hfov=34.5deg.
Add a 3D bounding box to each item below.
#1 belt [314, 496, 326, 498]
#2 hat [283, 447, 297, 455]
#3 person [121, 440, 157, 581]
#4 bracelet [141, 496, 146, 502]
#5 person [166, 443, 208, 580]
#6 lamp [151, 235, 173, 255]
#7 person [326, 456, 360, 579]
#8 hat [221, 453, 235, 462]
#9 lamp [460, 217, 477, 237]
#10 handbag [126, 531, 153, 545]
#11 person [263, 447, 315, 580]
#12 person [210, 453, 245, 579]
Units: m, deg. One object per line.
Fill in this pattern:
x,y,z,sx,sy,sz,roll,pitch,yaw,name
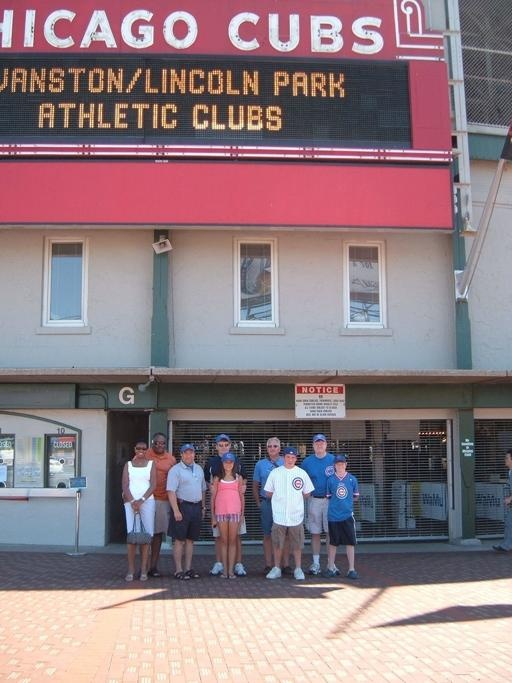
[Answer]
0.820,1.999,10.667,0.163,0.041,0.021,-2,-10,-2,belt
0.411,1.322,10.152,0.111,0.080,0.120,5,-8,-21,hat
-1.394,1.998,9.870,0.384,1.607,0.561,-2,-10,-7,person
-1.337,1.828,9.723,0.013,0.045,0.057,6,-42,-49,bracelet
-0.850,2.058,10.127,0.474,1.592,0.625,-2,-10,-5,person
-1.560,-1.609,13.781,0.326,0.287,0.305,-16,14,0,lamp
1.072,2.158,10.403,0.421,1.469,0.688,-4,-10,4,person
-0.369,1.404,10.191,0.123,0.084,0.194,4,-8,-4,hat
3.702,-1.987,14.373,0.329,0.331,0.349,0,-15,12,lamp
-1.372,2.276,9.639,0.273,0.143,0.104,0,-10,-18,handbag
0.391,2.068,10.054,0.613,1.569,0.398,-3,-10,2,person
-0.355,2.122,10.201,0.407,1.488,0.377,-8,-12,26,person
